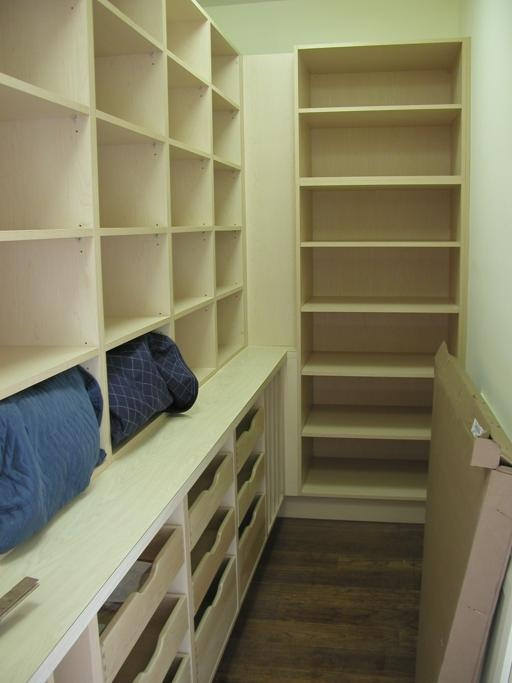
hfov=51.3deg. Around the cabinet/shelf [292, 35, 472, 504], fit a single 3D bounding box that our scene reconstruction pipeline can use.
[{"bbox_3d":[0.652,-0.297,2.863,0.801,2.326,0.733,1,4,14],"label":"cabinet/shelf"}]
